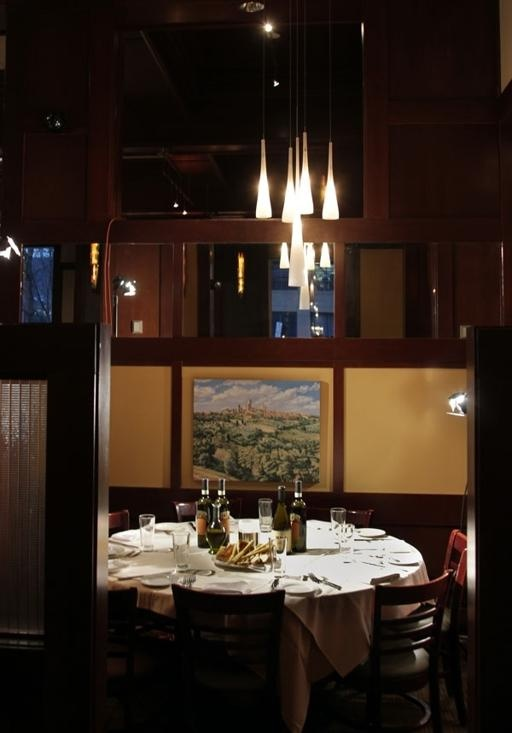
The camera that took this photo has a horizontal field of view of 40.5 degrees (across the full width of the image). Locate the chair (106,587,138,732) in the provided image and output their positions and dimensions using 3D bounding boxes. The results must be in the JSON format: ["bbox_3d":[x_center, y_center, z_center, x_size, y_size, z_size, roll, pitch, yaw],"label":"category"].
[{"bbox_3d":[-0.489,1.076,2.509,0.097,0.617,0.262,1,-1,-13],"label":"chair"}]

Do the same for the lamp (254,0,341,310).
[{"bbox_3d":[0.239,-1.407,4.002,0.482,2.066,1.479,0,-1,7],"label":"lamp"}]

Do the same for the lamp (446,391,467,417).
[{"bbox_3d":[1.158,0.231,4.004,0.102,0.160,1.068,0,-1,16],"label":"lamp"}]
